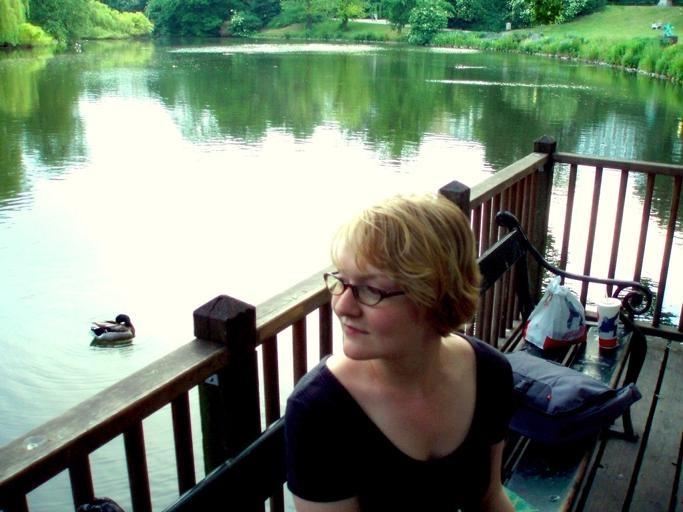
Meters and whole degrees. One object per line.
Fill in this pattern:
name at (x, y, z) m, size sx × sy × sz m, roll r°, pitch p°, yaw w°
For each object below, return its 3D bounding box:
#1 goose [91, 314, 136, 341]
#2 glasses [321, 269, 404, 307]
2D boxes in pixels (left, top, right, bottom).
goose at (-2.869, 0.921, 7.660) m, size 0.471 × 0.366 × 0.328 m, roll 2°, pitch 6°, yaw -16°
glasses at (0.043, 0.084, 1.478) m, size 0.214 × 0.065 × 0.049 m, roll 5°, pitch 4°, yaw 27°
